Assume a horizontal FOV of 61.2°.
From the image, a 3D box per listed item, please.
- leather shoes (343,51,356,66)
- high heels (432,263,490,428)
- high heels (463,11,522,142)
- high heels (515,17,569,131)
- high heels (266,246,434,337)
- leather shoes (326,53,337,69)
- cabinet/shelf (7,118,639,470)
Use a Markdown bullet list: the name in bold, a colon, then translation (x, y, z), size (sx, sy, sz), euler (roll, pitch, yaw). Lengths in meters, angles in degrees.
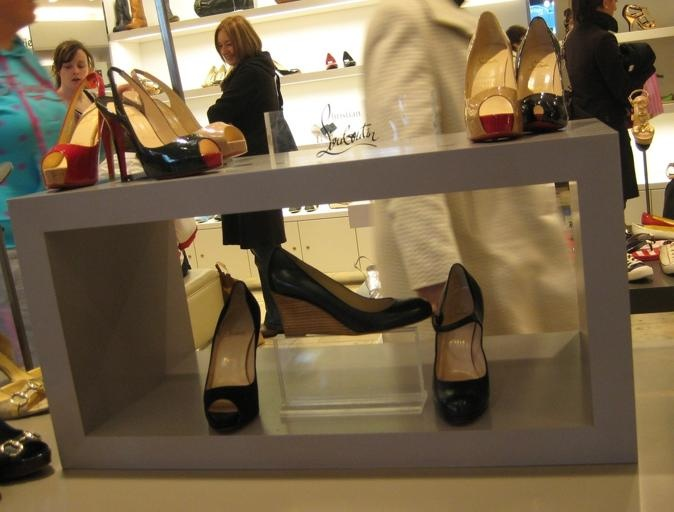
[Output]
- **leather shoes**: translation (0.082, -1.359, 3.918), size (0.082, 0.112, 0.167), euler (-8, 13, -5)
- **high heels**: translation (0.206, 0.142, 0.923), size (0.072, 0.109, 0.270), euler (-4, 31, 12)
- **high heels**: translation (0.238, -0.286, 0.892), size (0.076, 0.254, 0.094), euler (-2, -23, 18)
- **high heels**: translation (0.320, -0.276, 0.894), size (0.076, 0.096, 0.250), euler (-3, 49, 19)
- **high heels**: translation (-0.007, 0.056, 1.131), size (0.373, 0.235, 0.132), euler (-3, 6, 4)
- **leather shoes**: translation (-0.041, -1.349, 3.917), size (0.049, 0.054, 0.151), euler (-8, 40, 3)
- **cabinet/shelf**: translation (-0.019, 0.059, 0.954), size (0.872, 0.446, 0.368), euler (-5, 13, 9)
